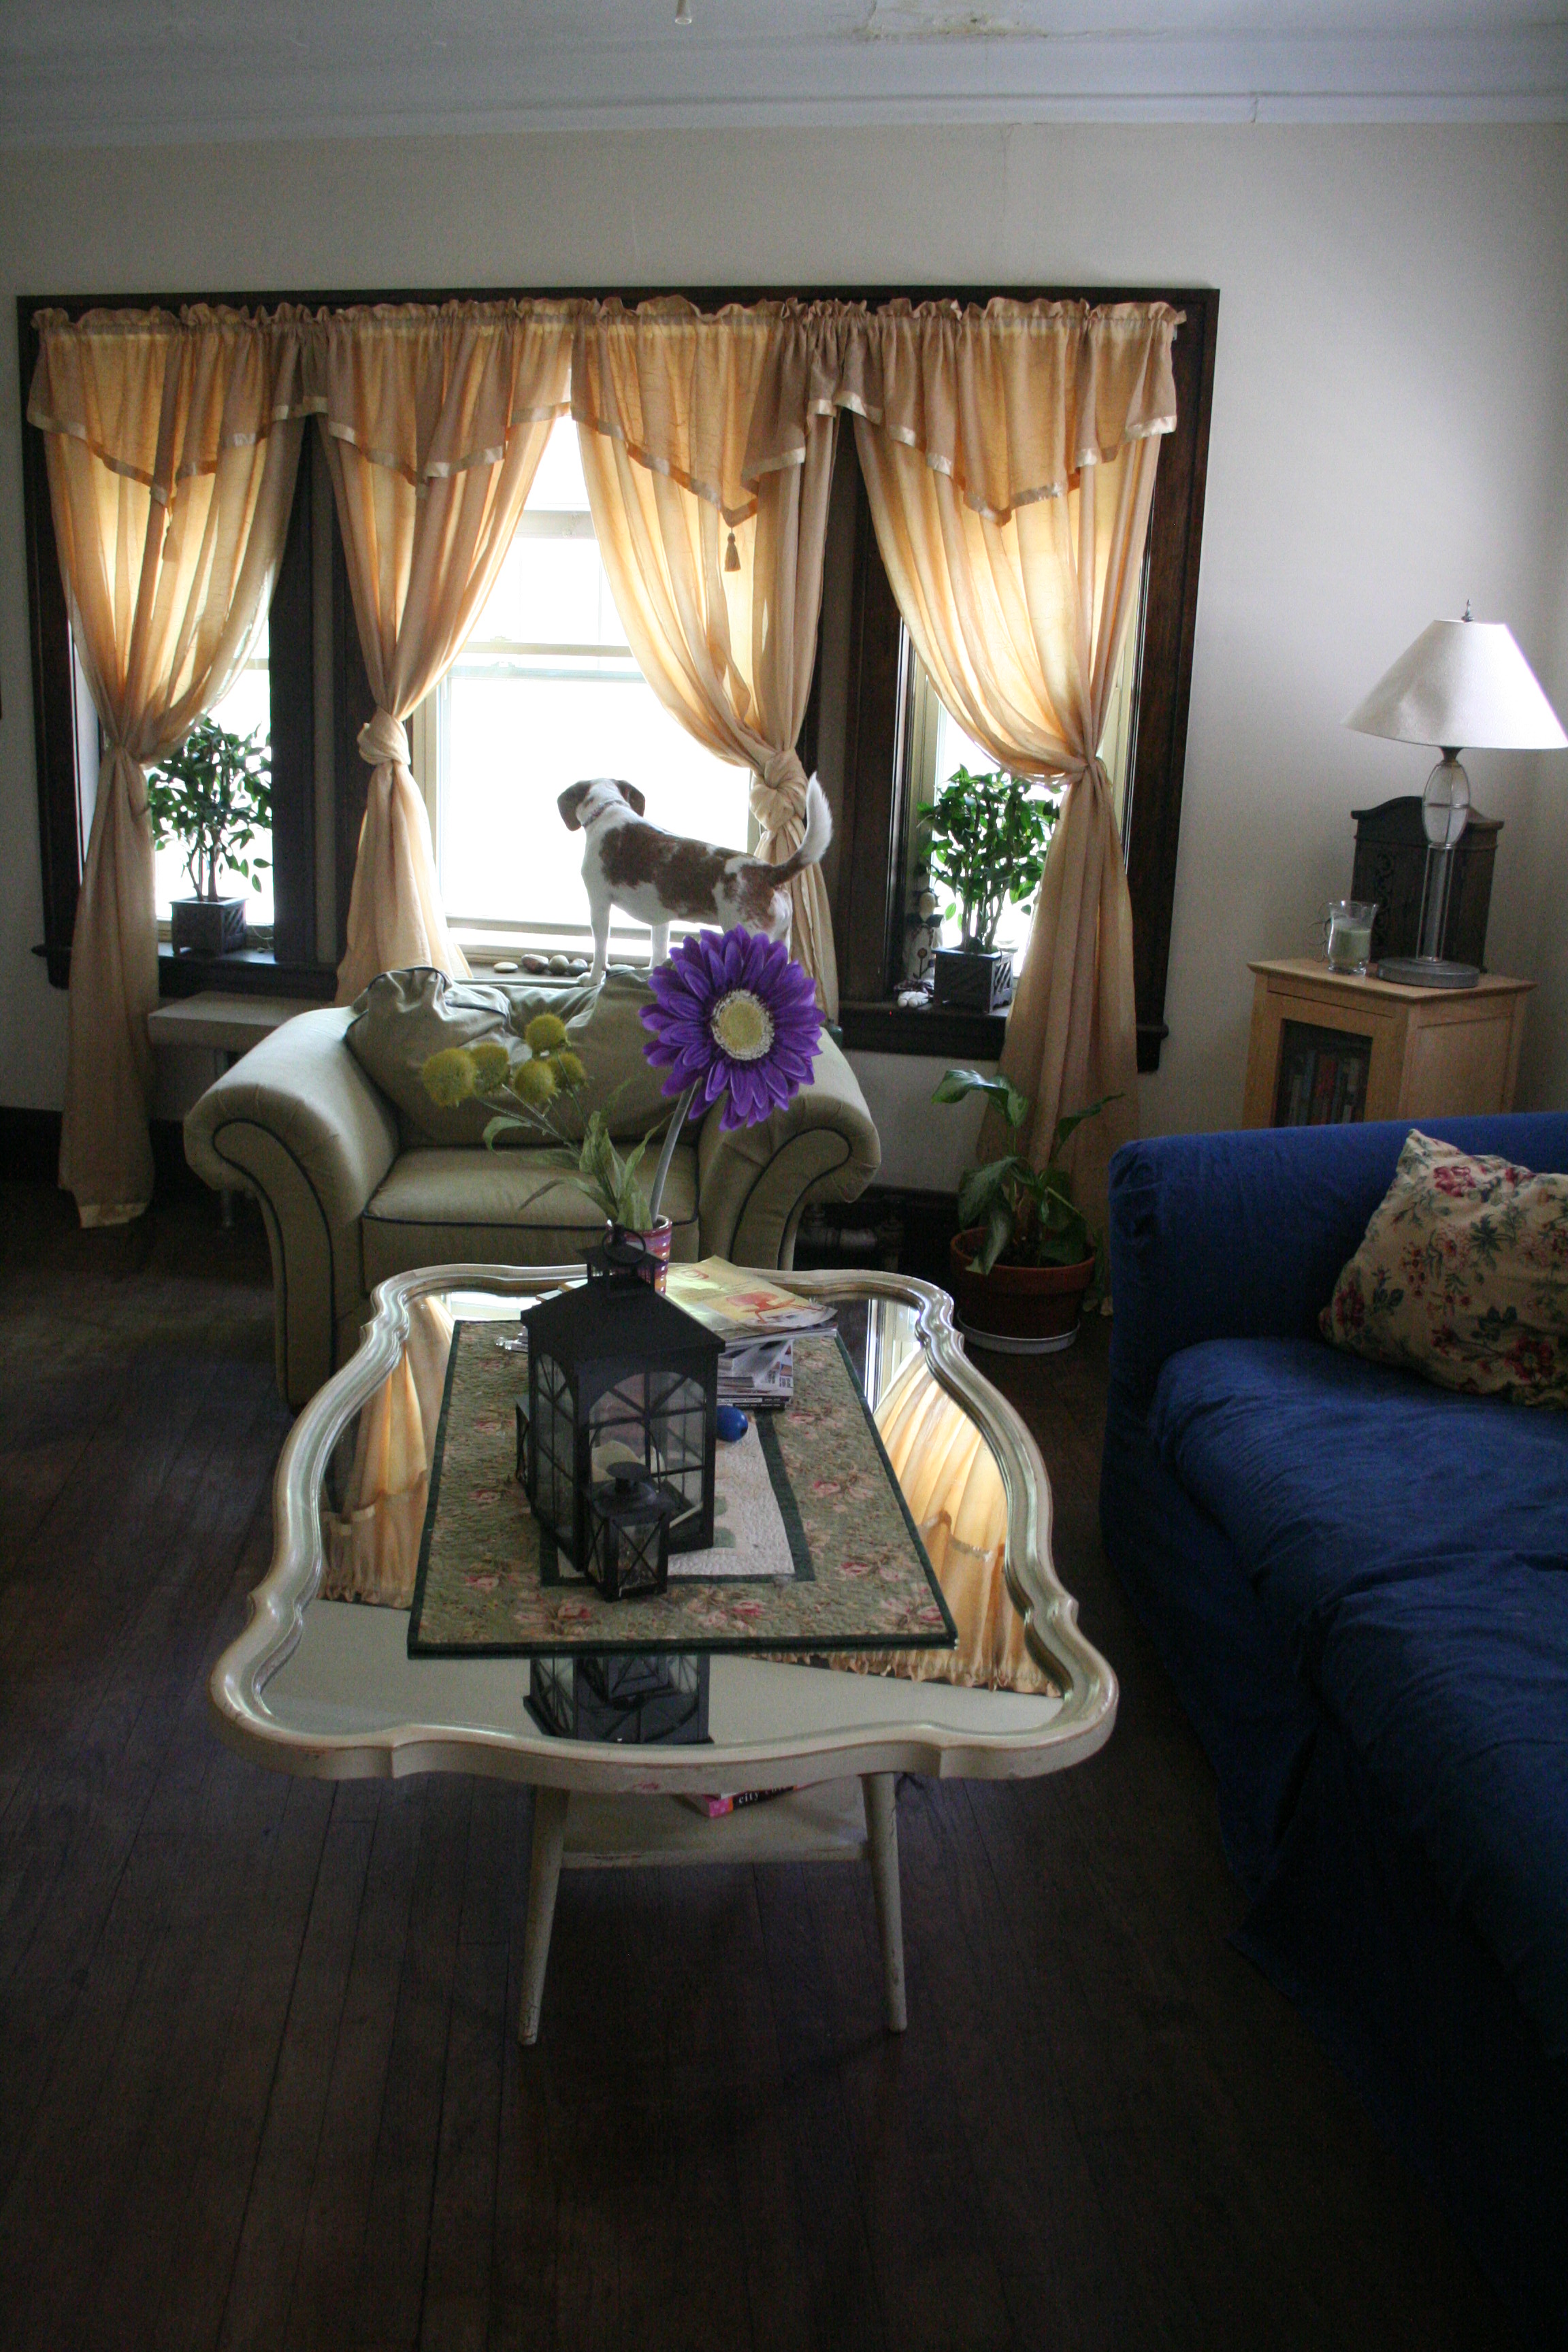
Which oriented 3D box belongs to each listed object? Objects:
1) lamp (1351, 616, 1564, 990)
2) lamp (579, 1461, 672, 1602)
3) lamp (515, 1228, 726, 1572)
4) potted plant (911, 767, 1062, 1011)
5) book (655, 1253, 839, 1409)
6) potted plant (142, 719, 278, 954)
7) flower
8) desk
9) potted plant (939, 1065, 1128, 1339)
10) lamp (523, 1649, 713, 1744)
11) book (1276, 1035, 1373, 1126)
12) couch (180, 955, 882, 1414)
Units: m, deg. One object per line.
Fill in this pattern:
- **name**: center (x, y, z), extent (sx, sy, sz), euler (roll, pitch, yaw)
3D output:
- **lamp**: center (1.274, -0.716, 3.171), extent (0.375, 0.668, 0.385), euler (5, 11, 20)
- **lamp**: center (-0.139, 0.283, 1.398), extent (0.088, 0.154, 0.095), euler (0, 15, -10)
- **lamp**: center (-0.144, 0.178, 1.450), extent (0.133, 0.283, 0.285), euler (-2, 13, -18)
- **potted plant**: center (0.464, -0.670, 3.864), extent (0.319, 0.564, 0.316), euler (2, 10, 5)
- **book**: center (-0.028, 0.167, 1.876), extent (0.138, 0.055, 0.149), euler (-4, 14, -19)
- **potted plant**: center (-1.467, -0.872, 4.238), extent (0.311, 0.604, 0.262), euler (-1, 10, -14)
- **flower**: center (-0.250, -0.131, 2.597), extent (0.449, 0.505, 0.399), euler (4, 54, -7)
- **desk**: center (-0.025, 0.504, 1.488), extent (0.604, 0.334, 0.826), euler (-13, -15, -45)
- **potted plant**: center (0.497, 0.051, 3.560), extent (0.426, 0.724, 0.511), euler (0, 12, -2)
- **lamp**: center (-0.130, 0.401, 1.281), extent (0.140, 0.050, 0.145), euler (2, 11, -2)
- **book**: center (1.065, -0.197, 3.280), extent (0.139, 0.216, 0.205), euler (0, 19, 9)
- **couch**: center (-0.481, 0.062, 3.217), extent (1.154, 0.953, 0.806), euler (2, 7, -1)
